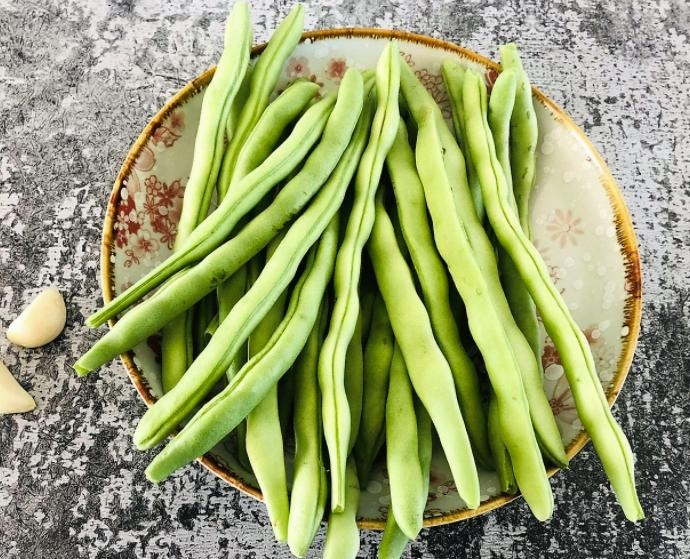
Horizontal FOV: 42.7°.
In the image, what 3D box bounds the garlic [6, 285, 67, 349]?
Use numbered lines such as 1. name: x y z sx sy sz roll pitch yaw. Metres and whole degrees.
1. garlic: -0.401 0.055 1.159 0.083 0.042 0.054 -31 63 -26
